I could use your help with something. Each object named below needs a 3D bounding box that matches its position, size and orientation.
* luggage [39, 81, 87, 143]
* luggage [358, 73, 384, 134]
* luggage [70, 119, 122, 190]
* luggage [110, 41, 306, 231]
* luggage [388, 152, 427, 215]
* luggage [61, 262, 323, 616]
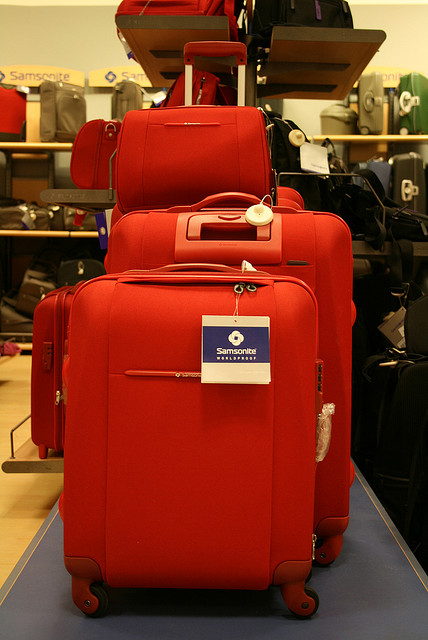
[{"bbox_3d":[-0.925,-1.280,3.466,0.266,0.280,0.145,1,0,-17],"label":"luggage"},{"bbox_3d":[0.907,-1.322,3.436,0.126,0.345,0.203,-18,28,-23],"label":"luggage"},{"bbox_3d":[-0.428,-0.655,2.094,0.165,0.306,0.234,7,43,-10],"label":"luggage"},{"bbox_3d":[-0.037,-0.292,1.085,0.284,0.435,0.236,0,-33,0],"label":"luggage"},{"bbox_3d":[1.041,-0.724,2.982,0.266,0.306,0.129,1,0,-10],"label":"luggage"},{"bbox_3d":[-0.034,0.147,0.718,0.318,0.400,0.252,-1,-4,2],"label":"luggage"}]
